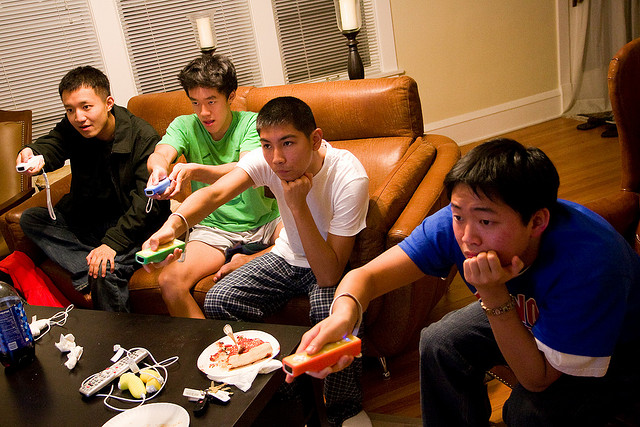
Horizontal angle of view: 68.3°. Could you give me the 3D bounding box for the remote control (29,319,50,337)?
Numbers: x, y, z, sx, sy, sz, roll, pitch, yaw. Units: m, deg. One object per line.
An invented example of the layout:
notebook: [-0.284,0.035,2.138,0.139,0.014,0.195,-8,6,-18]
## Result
remote control: [-1.230,0.503,2.067,0.049,0.022,0.071,16,17,24]

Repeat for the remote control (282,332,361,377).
remote control: [0.013,0.445,1.513,0.209,0.062,0.120,-24,27,-34]

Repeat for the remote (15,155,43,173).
remote: [-1.608,-0.281,2.617,0.070,0.031,0.133,-6,22,17]

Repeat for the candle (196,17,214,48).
candle: [-0.817,-1.288,3.365,0.102,0.206,0.027,-15,15,-9]

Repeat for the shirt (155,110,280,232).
shirt: [-0.509,-0.212,2.451,0.553,0.608,0.341,-7,10,13]

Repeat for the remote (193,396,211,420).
remote: [-0.400,0.663,1.606,0.034,0.022,0.071,12,43,1]

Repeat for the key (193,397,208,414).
key: [-0.405,0.656,1.605,0.025,0.016,0.049,-4,30,12]

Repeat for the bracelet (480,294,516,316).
bracelet: [0.561,0.294,1.486,0.068,0.020,0.071,-29,12,4]

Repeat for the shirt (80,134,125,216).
shirt: [-1.341,-0.229,2.852,0.319,0.425,0.154,0,7,7]

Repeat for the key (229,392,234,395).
key: [-0.308,0.630,1.646,0.015,0.007,0.005,-15,15,-7]

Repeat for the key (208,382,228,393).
key: [-0.366,0.614,1.658,0.021,0.011,0.035,29,28,31]

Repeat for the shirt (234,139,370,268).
shirt: [-0.055,-0.042,2.240,0.594,0.578,0.252,-7,16,19]

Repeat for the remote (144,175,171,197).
remote: [-0.739,-0.115,2.150,0.112,0.062,0.035,-31,30,-35]

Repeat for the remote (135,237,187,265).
remote: [-0.667,0.150,2.012,0.088,0.038,0.168,9,26,41]
